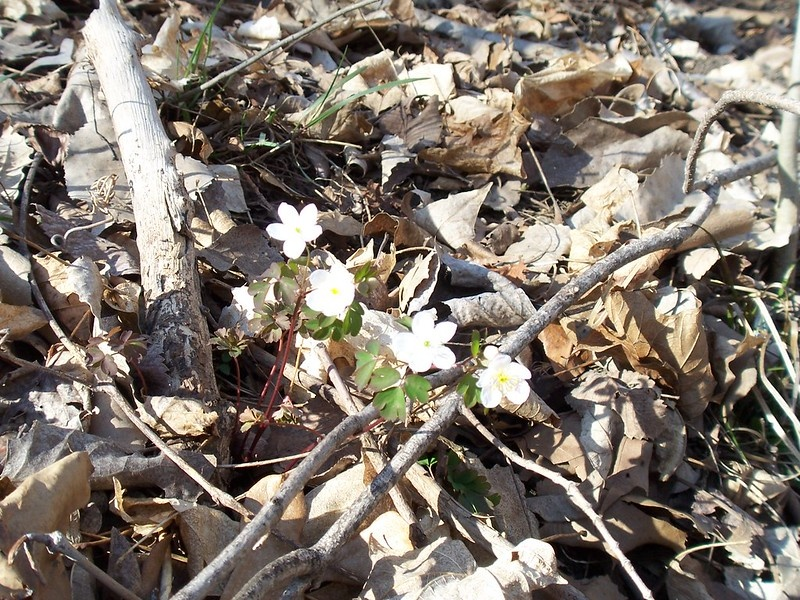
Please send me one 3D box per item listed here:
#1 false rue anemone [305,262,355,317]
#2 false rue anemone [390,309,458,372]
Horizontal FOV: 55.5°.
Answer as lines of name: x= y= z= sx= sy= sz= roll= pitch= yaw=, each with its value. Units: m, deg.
false rue anemone: x=-0.233 y=-0.031 z=2.507 sx=0.162 sy=0.085 sz=0.140 roll=-31 pitch=67 yaw=-17
false rue anemone: x=0.094 y=0.150 z=2.494 sx=0.184 sy=0.144 sz=0.178 roll=36 pitch=66 yaw=15
